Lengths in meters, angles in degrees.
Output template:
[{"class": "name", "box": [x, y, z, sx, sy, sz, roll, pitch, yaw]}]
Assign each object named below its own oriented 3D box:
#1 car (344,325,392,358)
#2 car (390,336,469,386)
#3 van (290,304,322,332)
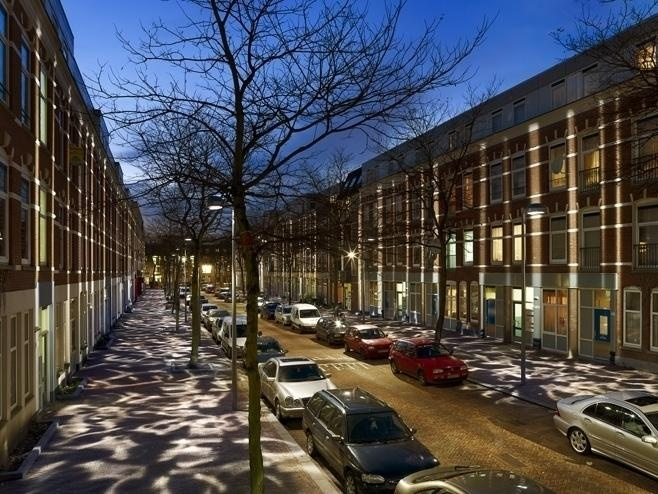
[{"class": "car", "box": [2.172, 5.186, 29.069, 1.433, 1.044, 2.350, 1, -8, -23]}, {"class": "car", "box": [4.209, 5.059, 23.441, 1.741, 1.161, 2.832, 2, -8, -25]}, {"class": "van", "box": [-1.790, 5.348, 40.016, 1.406, 1.237, 2.549, 1, -6, -20]}]
